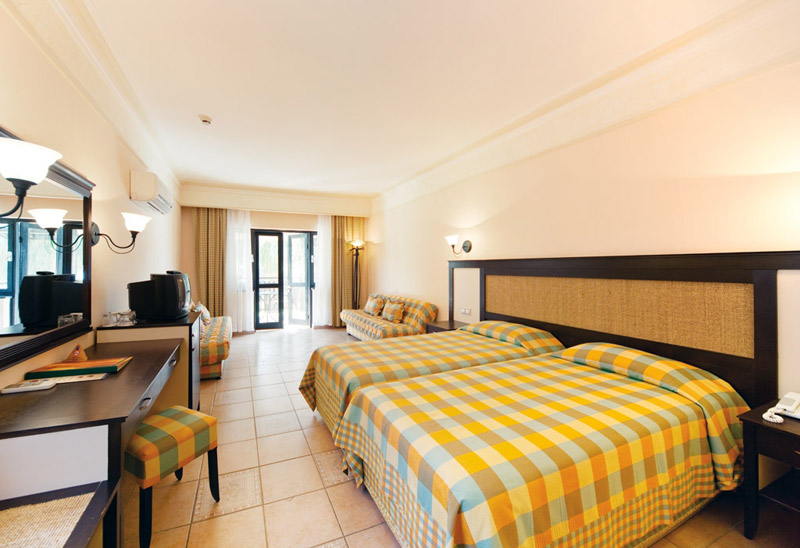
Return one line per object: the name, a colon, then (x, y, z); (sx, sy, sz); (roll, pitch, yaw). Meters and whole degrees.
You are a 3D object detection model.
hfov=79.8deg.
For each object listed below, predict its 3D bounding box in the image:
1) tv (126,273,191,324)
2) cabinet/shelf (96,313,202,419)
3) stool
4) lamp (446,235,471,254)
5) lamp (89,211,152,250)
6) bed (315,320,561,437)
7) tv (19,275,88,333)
tv: (-2.231, 0.188, 4.457); (0.470, 0.405, 0.475); (-3, 5, -45)
cabinet/shelf: (-2.112, 0.714, 4.156); (0.736, 0.968, 1.043); (-2, 5, -21)
stool: (-1.613, 1.322, 3.542); (0.782, 0.682, 0.777); (-4, 7, -33)
lamp: (0.745, -0.363, 5.944); (0.293, 0.207, 0.194); (1, -2, -30)
lamp: (-2.419, -0.373, 4.165); (0.416, 0.303, 0.216); (0, 3, -11)
bed: (0.243, 0.750, 4.408); (1.724, 0.553, 1.133); (-1, 3, -21)
tv: (-2.435, 0.183, 3.347); (0.275, 0.472, 0.502); (1, 2, -10)
